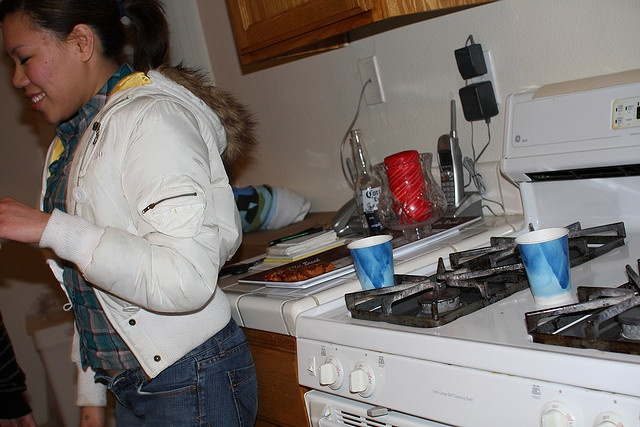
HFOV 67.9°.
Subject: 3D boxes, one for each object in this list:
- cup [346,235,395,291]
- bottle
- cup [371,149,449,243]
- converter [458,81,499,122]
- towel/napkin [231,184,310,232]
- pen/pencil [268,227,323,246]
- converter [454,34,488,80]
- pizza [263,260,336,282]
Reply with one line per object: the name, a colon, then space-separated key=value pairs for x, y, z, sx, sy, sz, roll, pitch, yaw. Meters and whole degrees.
cup: x=0.134 y=0.123 z=1.215 sx=0.140 sy=0.121 sz=0.087 roll=-6 pitch=5 yaw=32
bottle: x=0.162 y=-0.108 z=1.671 sx=0.101 sy=0.397 sz=0.102 roll=-11 pitch=36 yaw=8
cup: x=0.286 y=-0.080 z=1.538 sx=0.177 sy=0.295 sz=0.175 roll=-2 pitch=12 yaw=1
converter: x=0.528 y=-0.375 z=1.605 sx=0.082 sy=0.133 sz=0.109 roll=-9 pitch=16 yaw=-29
towel/napkin: x=-0.249 y=-0.067 z=2.300 sx=0.387 sy=0.190 sz=0.379 roll=-8 pitch=14 yaw=-34
pen/pencil: x=-0.085 y=0.086 z=1.737 sx=0.234 sy=0.027 sz=0.026 roll=-14 pitch=6 yaw=-41
converter: x=0.500 y=-0.525 z=1.615 sx=0.083 sy=0.135 sz=0.108 roll=-12 pitch=14 yaw=-22
pizza: x=-0.058 y=0.143 z=1.345 sx=0.086 sy=0.021 sz=0.124 roll=1 pitch=8 yaw=44
